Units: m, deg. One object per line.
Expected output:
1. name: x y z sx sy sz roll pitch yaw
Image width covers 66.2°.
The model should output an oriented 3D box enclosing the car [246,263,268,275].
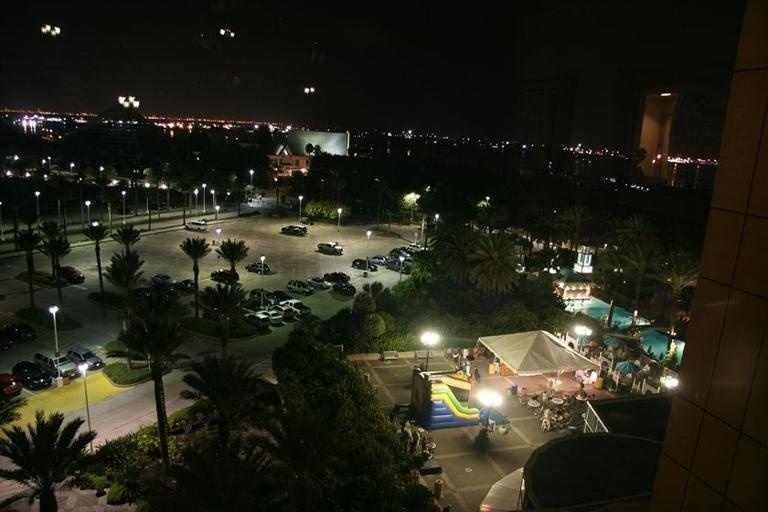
1. car: -14.966 1.485 69.724 2.345 0.918 1.288 16 19 19

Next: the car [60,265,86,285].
1. car: -33.561 2.121 63.359 2.373 1.707 1.486 3 10 17

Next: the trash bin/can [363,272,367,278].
1. trash bin/can: -2.292 2.277 71.255 0.478 0.649 0.676 2 4 6

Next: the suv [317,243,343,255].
1. suv: -7.389 -1.002 80.709 3.220 1.466 1.717 6 17 19

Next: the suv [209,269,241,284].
1. suv: -16.748 2.234 61.711 2.433 0.887 1.163 16 17 26

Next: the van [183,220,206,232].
1. van: -29.401 -4.651 91.612 4.594 1.503 1.776 7 12 39

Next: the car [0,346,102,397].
1. car: -25.272 8.699 45.242 5.592 1.976 2.916 -7 12 -35

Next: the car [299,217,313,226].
1. car: -13.563 -5.997 101.788 2.124 1.100 1.335 5 13 42
